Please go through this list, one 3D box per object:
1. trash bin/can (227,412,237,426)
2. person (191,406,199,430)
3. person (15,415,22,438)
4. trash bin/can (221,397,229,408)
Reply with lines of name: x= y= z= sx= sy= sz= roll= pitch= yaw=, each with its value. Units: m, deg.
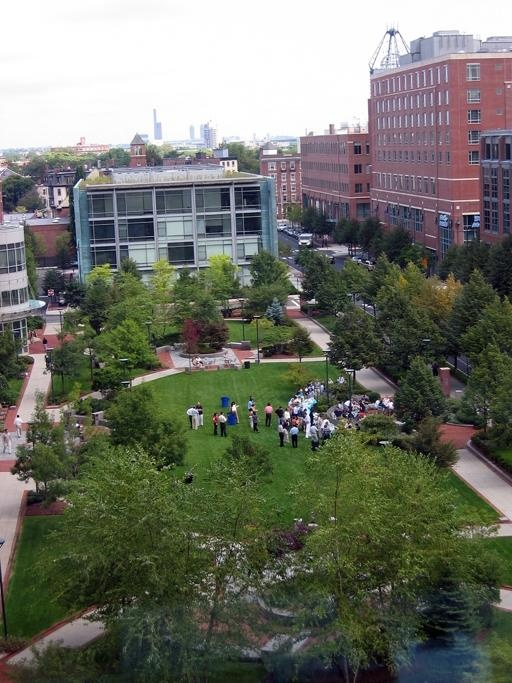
trash bin/can: x=-1.499 y=4.783 z=39.602 sx=0.534 sy=0.940 sz=0.538 roll=4 pitch=6 yaw=0
person: x=-3.664 y=4.720 z=38.829 sx=0.371 sy=1.148 sz=0.777 roll=4 pitch=6 yaw=3
person: x=-14.585 y=5.216 z=39.069 sx=0.376 sy=1.229 sz=1.834 roll=2 pitch=6 yaw=-21
trash bin/can: x=-2.070 y=4.088 z=42.750 sx=0.751 sy=0.688 sz=0.405 roll=2 pitch=18 yaw=3
